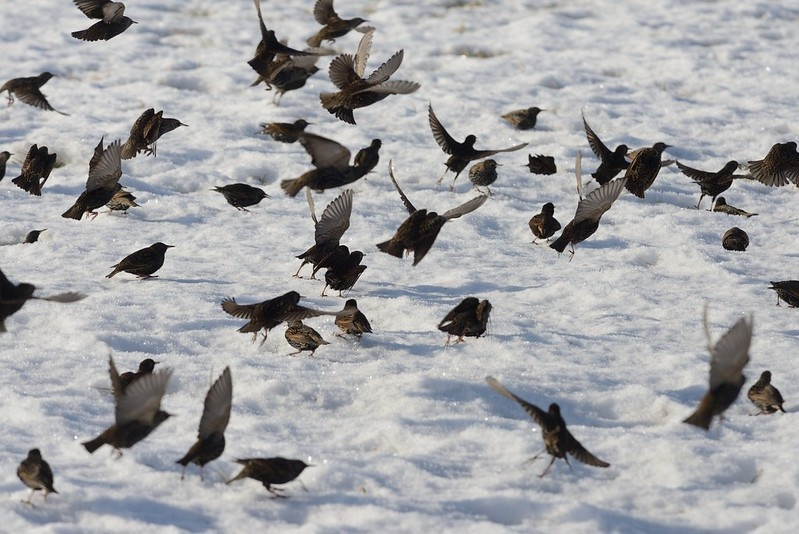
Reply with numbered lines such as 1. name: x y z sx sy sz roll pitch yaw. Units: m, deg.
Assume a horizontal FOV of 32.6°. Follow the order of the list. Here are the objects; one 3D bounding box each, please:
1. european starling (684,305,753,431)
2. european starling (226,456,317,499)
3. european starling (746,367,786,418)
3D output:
1. european starling: 4.026 1.424 17.279 0.916 1.827 0.461 -27 46 -29
2. european starling: -1.668 2.733 18.116 1.331 0.426 0.545 14 82 -2
3. european starling: 5.113 1.810 19.103 0.443 0.710 1.094 7 1 2
